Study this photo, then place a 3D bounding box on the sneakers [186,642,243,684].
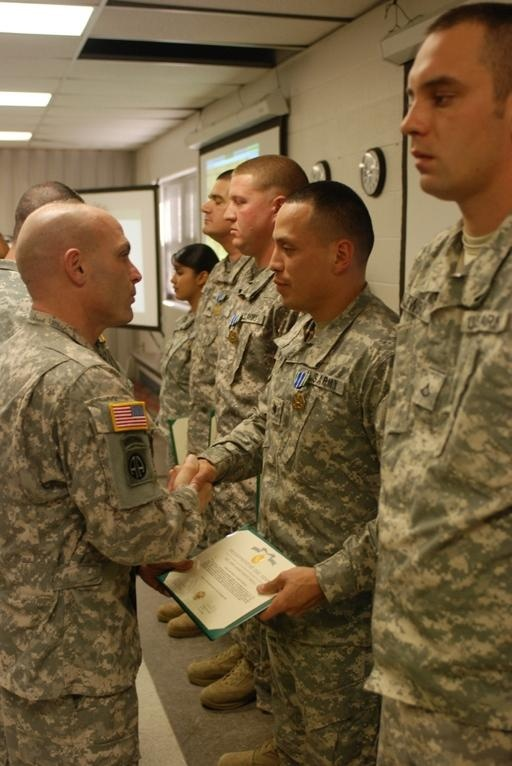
[{"bbox_3d":[-0.151,1.058,2.493,0.294,0.115,0.092,-9,10,-3],"label":"sneakers"}]
